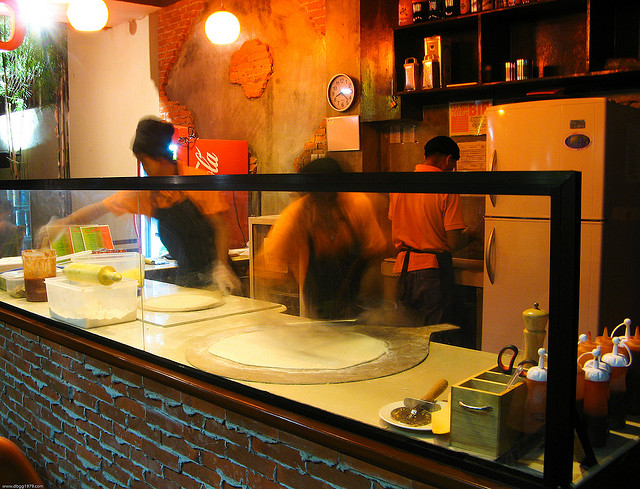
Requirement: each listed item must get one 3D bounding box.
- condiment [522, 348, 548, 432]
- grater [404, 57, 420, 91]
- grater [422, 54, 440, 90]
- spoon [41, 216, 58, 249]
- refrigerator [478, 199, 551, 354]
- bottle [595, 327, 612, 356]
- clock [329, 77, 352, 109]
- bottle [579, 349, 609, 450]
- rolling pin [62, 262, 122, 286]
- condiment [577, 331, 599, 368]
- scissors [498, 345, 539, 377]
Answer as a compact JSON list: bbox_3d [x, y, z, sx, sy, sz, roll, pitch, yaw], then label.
[{"bbox_3d":[0.461,0.313,1.174,0.042,0.153,0.068,1,3,35],"label":"condiment"},{"bbox_3d":[0.711,-1.296,4.239,0.112,0.220,0.101,0,7,8],"label":"grater"},{"bbox_3d":[0.848,-1.321,4.185,0.124,0.272,0.111,1,7,10],"label":"grater"},{"bbox_3d":[-1.131,-0.053,2.286,0.123,0.180,0.009,5,-9,42],"label":"spoon"},{"bbox_3d":[0.388,0.079,1.108,0.136,0.335,0.161,2,7,22],"label":"refrigerator"},{"bbox_3d":[0.795,0.275,1.539,0.054,0.065,0.056,-2,0,10],"label":"bottle"},{"bbox_3d":[0.181,-1.267,4.567,0.264,0.280,0.027,10,15,39],"label":"clock"},{"bbox_3d":[0.670,0.374,1.330,0.066,0.223,0.119,3,8,29],"label":"bottle"},{"bbox_3d":[-0.840,0.110,2.030,0.197,0.058,0.052,7,-28,26],"label":"rolling pin"},{"bbox_3d":[0.726,0.283,1.491,0.064,0.076,0.066,-3,0,12],"label":"condiment"},{"bbox_3d":[0.418,0.247,1.185,0.067,0.071,0.017,-2,8,13],"label":"scissors"}]
